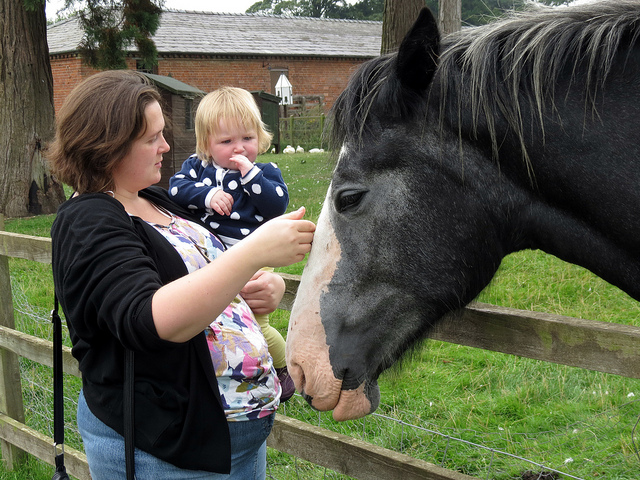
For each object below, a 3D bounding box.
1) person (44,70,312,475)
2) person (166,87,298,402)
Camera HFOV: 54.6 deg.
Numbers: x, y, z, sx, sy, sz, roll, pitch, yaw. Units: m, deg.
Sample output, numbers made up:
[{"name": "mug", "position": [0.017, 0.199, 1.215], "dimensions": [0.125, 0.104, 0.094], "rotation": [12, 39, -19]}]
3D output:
[{"name": "person", "position": [-0.610, 0.230, 2.531], "dimensions": [1.042, 1.776, 0.680], "rotation": [1, 13, 1]}, {"name": "person", "position": [-0.488, -0.007, 3.334], "dimensions": [0.534, 1.523, 0.526], "rotation": [4, 17, 8]}]
